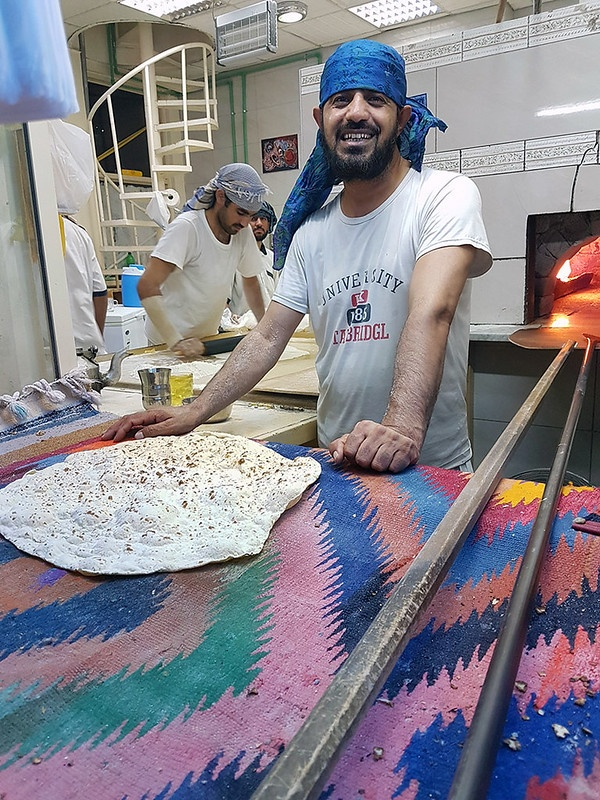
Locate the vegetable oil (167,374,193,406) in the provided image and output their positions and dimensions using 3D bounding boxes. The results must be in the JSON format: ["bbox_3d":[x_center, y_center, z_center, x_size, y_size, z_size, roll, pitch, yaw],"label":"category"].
[{"bbox_3d":[-0.348,-0.031,1.605,0.086,0.098,0.084,2,4,-1],"label":"vegetable oil"}]

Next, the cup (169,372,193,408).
[{"bbox_3d":[-0.345,-0.029,1.606,0.087,0.101,0.087,2,5,0],"label":"cup"}]
